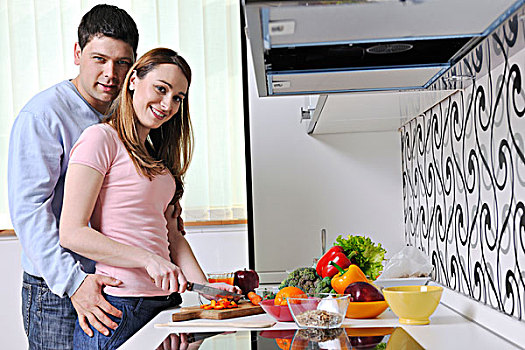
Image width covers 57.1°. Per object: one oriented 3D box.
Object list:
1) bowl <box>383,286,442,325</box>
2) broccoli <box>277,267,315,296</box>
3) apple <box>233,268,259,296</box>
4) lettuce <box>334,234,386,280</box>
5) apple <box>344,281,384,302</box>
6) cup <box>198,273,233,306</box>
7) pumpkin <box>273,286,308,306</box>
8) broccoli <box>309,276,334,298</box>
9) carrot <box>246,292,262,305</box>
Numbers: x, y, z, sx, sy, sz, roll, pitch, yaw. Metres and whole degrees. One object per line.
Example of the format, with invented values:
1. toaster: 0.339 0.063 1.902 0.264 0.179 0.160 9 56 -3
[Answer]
1. bowl: 0.438 0.362 1.403 0.129 0.078 0.132 -2 -12 0
2. broccoli: 0.114 0.352 1.622 0.095 0.064 0.076 -11 2 -14
3. apple: -0.061 0.392 1.766 0.085 0.099 0.088 -1 -5 -10
4. lettuce: 0.372 0.268 1.707 0.155 0.072 0.142 4 14 -5
5. apple: 0.308 0.364 1.479 0.085 0.055 0.065 19 -4 7
6. cup: -0.156 0.398 1.707 0.160 0.090 0.085 11 -2 -2
7. pumpkin: 0.083 0.394 1.487 0.067 0.066 0.067 -27 -31 25
8. broccoli: 0.187 0.369 1.573 0.048 0.063 0.032 1 -26 47
9. carrot: -0.026 0.416 1.628 0.024 0.029 0.059 -28 20 -25
